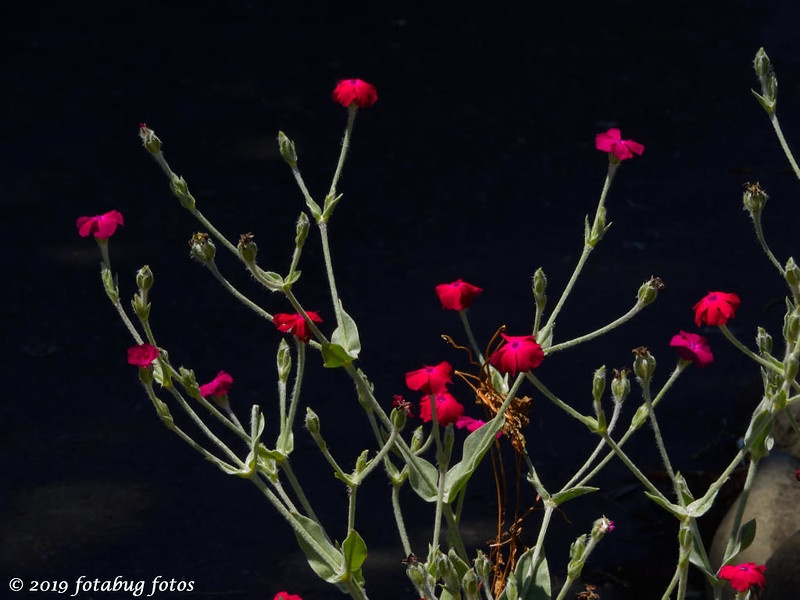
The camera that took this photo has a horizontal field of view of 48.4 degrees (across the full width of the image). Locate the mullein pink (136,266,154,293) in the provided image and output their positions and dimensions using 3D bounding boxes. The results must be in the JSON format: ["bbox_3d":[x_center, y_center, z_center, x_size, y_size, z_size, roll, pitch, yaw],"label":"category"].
[{"bbox_3d":[-0.459,-0.050,1.595,0.026,0.050,0.091,-3,23,-18],"label":"mullein pink"}]

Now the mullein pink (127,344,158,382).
[{"bbox_3d":[-0.438,0.105,1.522,0.049,0.050,0.048,-2,23,-16],"label":"mullein pink"}]

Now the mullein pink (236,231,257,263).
[{"bbox_3d":[-0.255,-0.089,1.524,0.036,0.056,0.020,-20,-8,43],"label":"mullein pink"}]

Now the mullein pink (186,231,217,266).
[{"bbox_3d":[-0.339,-0.082,1.518,0.031,0.061,0.041,-25,0,-30],"label":"mullein pink"}]
